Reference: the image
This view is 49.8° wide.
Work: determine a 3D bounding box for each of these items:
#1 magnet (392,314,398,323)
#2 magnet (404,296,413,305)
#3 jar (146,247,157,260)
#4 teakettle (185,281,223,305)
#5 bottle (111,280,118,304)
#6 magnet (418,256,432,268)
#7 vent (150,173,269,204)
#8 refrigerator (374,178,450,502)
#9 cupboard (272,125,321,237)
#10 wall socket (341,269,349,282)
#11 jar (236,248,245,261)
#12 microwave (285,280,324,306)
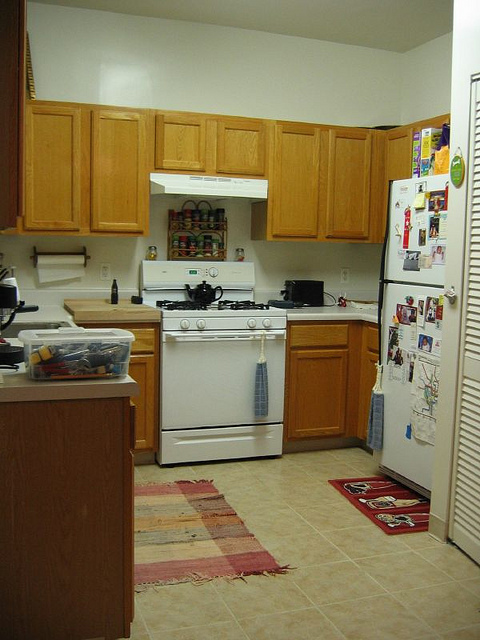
[{"bbox_3d":[0.822,0.004,2.731,0.028,0.031,0.024,1,2,35],"label":"magnet"},{"bbox_3d":[0.848,-0.098,2.591,0.023,0.032,0.033,-2,1,-14],"label":"magnet"},{"bbox_3d":[-0.586,-0.447,3.493,0.074,0.100,0.074,3,17,-1],"label":"jar"},{"bbox_3d":[-0.213,-0.175,3.398,0.266,0.152,0.313,1,1,-16],"label":"teakettle"},{"bbox_3d":[-0.781,-0.168,3.214,0.038,0.140,0.054,1,1,-15],"label":"bottle"},{"bbox_3d":[0.887,-0.275,2.465,0.007,0.045,0.062,2,1,-18],"label":"magnet"},{"bbox_3d":[-0.175,-0.838,3.258,0.772,0.161,0.165,1,1,-22],"label":"vent"},{"bbox_3d":[0.873,0.098,2.610,0.216,1.653,0.682,1,1,-7],"label":"refrigerator"},{"bbox_3d":[0.334,-0.928,3.535,0.340,0.698,0.241,-4,13,-26],"label":"cupboard"},{"bbox_3d":[0.822,-0.344,4.038,0.070,0.099,0.014,0,1,-29],"label":"wall socket"},{"bbox_3d":[0.002,-0.465,3.700,0.078,0.118,0.073,2,11,0],"label":"jar"},{"bbox_3d":[0.473,-0.196,3.797,0.313,0.234,0.172,0,7,-11],"label":"microwave"}]
